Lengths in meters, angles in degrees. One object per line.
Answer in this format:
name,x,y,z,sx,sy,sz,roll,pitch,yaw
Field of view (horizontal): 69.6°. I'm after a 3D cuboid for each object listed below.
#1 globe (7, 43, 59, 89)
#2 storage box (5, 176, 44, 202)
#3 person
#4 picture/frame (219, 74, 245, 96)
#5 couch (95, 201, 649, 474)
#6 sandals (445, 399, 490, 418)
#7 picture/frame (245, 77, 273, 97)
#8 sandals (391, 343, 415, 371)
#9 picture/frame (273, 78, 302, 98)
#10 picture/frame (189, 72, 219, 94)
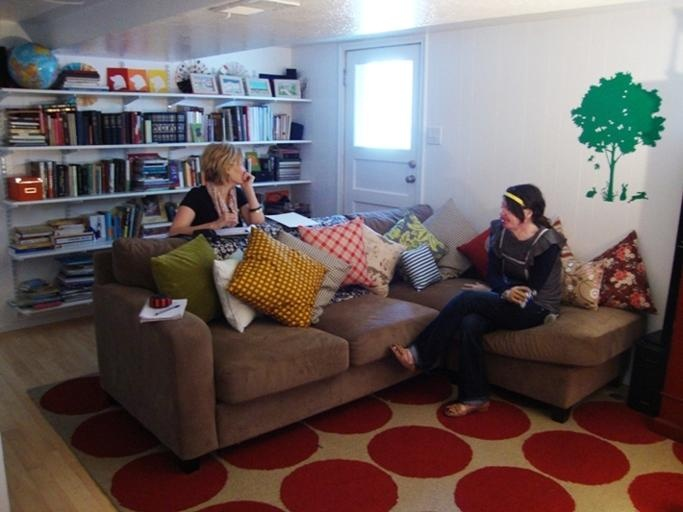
globe,-2.512,-1.532,3.986,0.348,0.346,0.186,-11,18,-31
storage box,-2.633,-0.624,4.078,0.207,0.247,0.378,0,3,-45
person,0.845,0.259,3.161,1.130,1.383,0.574,0,1,-3
picture/frame,-1.127,-1.708,4.933,0.302,0.215,0.040,-6,6,-43
couch,0.236,0.531,2.930,2.801,0.979,1.317,-8,14,-35
sandals,0.772,0.926,3.041,0.267,0.105,0.109,2,9,-5
picture/frame,-0.888,-1.748,5.101,0.285,0.242,0.029,-9,4,-40
sandals,0.387,0.630,3.078,0.084,0.199,0.108,-12,34,36
picture/frame,-0.623,-1.816,5.320,0.297,0.195,0.011,-7,5,-42
picture/frame,-1.357,-1.667,4.754,0.299,0.214,0.041,-2,0,-43
